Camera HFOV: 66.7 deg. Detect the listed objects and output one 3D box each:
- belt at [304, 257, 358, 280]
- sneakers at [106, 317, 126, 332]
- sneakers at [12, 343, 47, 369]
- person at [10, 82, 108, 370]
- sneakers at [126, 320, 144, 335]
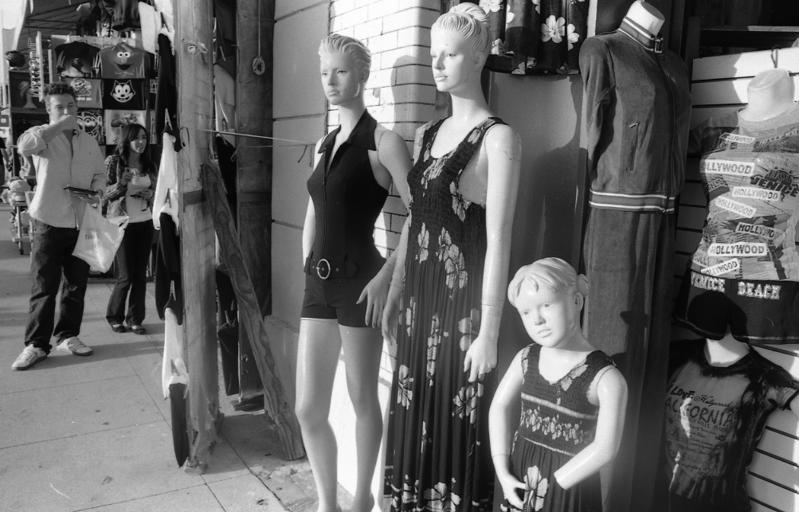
[{"bbox_3d":[-0.351,0.044,3.116,0.165,0.085,0.134,5,3,22],"label":"belt"},{"bbox_3d":[-2.749,0.674,5.951,0.255,0.109,0.095,25,25,36],"label":"sneakers"},{"bbox_3d":[-3.078,0.825,5.107,0.109,0.156,0.345,4,11,4],"label":"sneakers"},{"bbox_3d":[-2.945,-0.293,5.245,0.535,2.308,1.009,3,12,1],"label":"person"},{"bbox_3d":[-2.568,0.691,5.945,0.236,0.105,0.089,10,9,42],"label":"sneakers"}]
